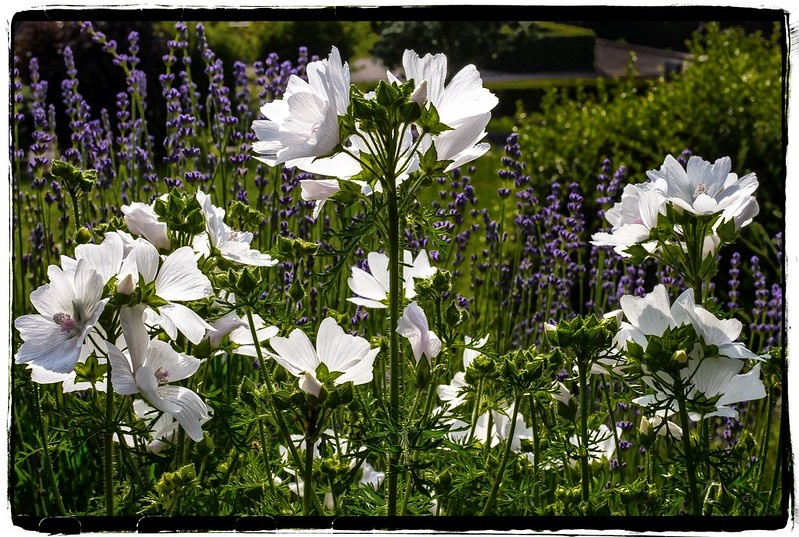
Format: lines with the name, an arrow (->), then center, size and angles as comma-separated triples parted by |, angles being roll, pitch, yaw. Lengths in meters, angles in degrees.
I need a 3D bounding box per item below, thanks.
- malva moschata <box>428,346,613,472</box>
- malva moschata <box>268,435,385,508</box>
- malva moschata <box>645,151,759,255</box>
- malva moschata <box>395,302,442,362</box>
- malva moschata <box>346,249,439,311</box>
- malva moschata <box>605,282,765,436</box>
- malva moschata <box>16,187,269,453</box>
malva moschata -> 0.380, 0.447, 3.363 | 0.439, 0.294, 0.472 | 20, 9, -30
malva moschata -> -0.235, 0.674, 3.503 | 0.289, 0.131, 0.286 | 12, 10, 38
malva moschata -> 0.980, -0.251, 3.362 | 0.291, 0.338, 0.161 | -10, -34, 0
malva moschata -> 0.068, 0.202, 3.214 | 0.071, 0.186, 0.290 | -1, -8, 25
malva moschata -> -0.028, 0.031, 3.388 | 0.212, 0.084, 0.213 | -33, 46, -21
malva moschata -> 0.894, 0.264, 3.209 | 0.446, 0.401, 0.249 | 1, -7, 14
malva moschata -> -0.782, 0.127, 3.211 | 0.747, 0.775, 0.393 | 5, -7, -17
